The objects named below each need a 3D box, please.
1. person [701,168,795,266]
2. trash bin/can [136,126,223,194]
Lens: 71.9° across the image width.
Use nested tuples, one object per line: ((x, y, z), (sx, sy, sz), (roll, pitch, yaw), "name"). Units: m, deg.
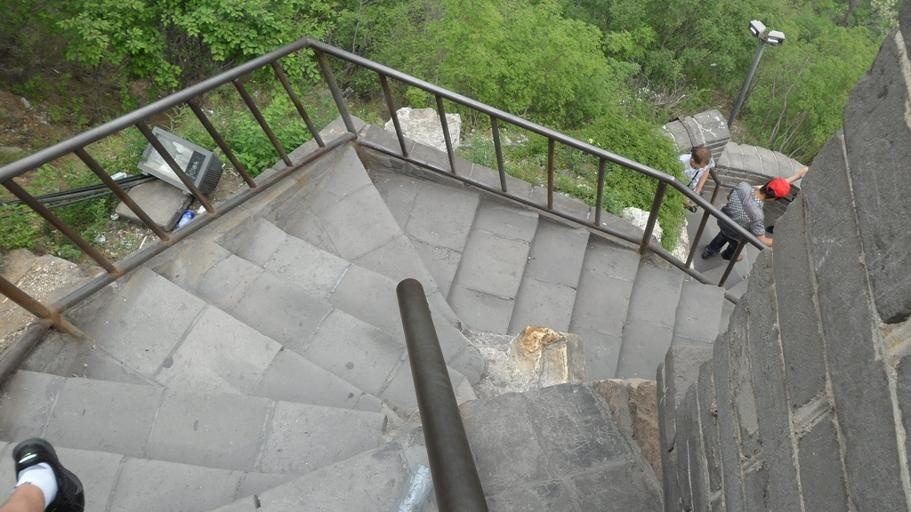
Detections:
((4.093, -0.607, 8.946), (1.113, 1.769, 0.734), (-22, 79, 13), "person")
((-3.540, -1.132, 8.099), (0.843, 0.569, 0.572), (22, 80, 8), "trash bin/can")
